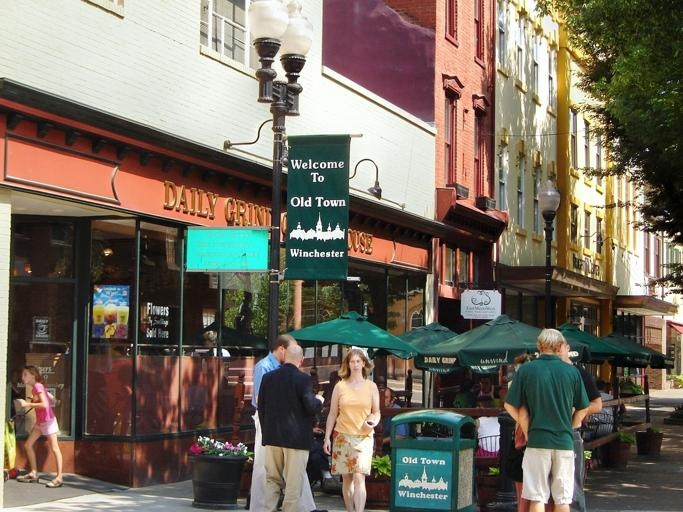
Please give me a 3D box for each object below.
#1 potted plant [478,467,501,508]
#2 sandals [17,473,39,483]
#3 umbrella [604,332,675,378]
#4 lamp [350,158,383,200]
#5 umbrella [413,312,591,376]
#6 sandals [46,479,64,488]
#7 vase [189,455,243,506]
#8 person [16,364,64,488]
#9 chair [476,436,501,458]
[{"bbox_3d":[2.348,3.640,15.855,0.380,0.742,0.755,-1,-4,8],"label":"potted plant"},{"bbox_3d":[-5.084,3.574,16.139,0.286,0.126,0.158,0,-6,27],"label":"sandals"},{"bbox_3d":[7.009,2.289,23.445,1.172,0.595,1.311,4,-9,-3],"label":"umbrella"},{"bbox_3d":[0.553,-1.706,22.533,0.794,1.121,0.370,-22,35,-24],"label":"lamp"},{"bbox_3d":[2.654,1.541,17.226,1.549,0.612,1.590,-8,-1,-30],"label":"umbrella"},{"bbox_3d":[-4.553,3.616,15.876,0.257,0.118,0.100,8,-7,-13],"label":"sandals"},{"bbox_3d":[-1.919,3.434,15.402,0.710,0.599,0.744,3,-7,-14],"label":"vase"},{"bbox_3d":[-4.980,2.901,16.493,0.767,2.075,0.779,18,-37,-35],"label":"person"},{"bbox_3d":[2.378,3.064,16.038,0.314,0.291,0.358,6,-11,-38],"label":"chair"}]
